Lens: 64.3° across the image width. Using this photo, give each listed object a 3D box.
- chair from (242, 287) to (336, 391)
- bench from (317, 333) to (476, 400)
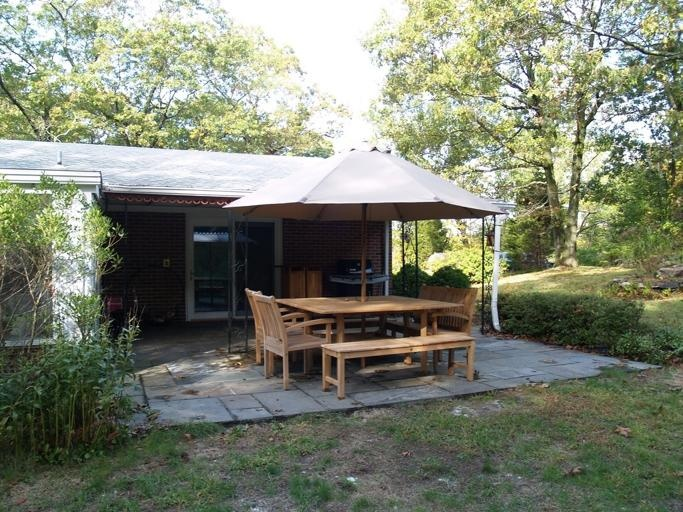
[{"bbox_3d":[-0.731,1.088,8.252,1.425,1.692,1.395,-2,4,-24],"label":"chair"},{"bbox_3d":[0.825,1.479,7.599,2.134,0.585,0.589,-1,1,-23],"label":"bench"}]
